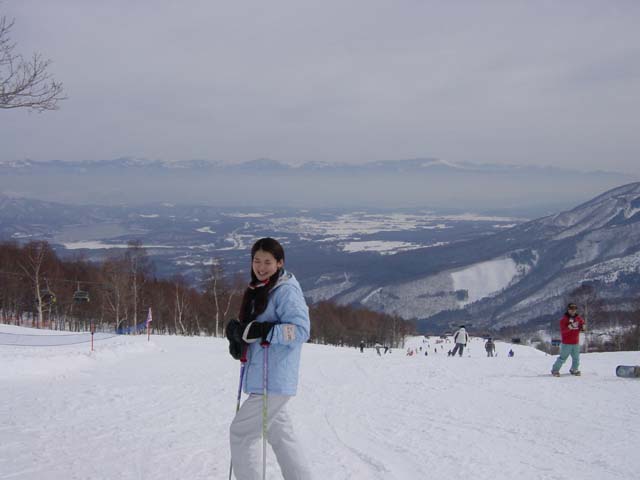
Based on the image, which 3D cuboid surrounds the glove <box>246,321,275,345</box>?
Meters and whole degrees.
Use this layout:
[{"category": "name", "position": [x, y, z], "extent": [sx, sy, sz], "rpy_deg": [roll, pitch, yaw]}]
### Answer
[{"category": "glove", "position": [-1.050, 1.648, 12.029], "extent": [0.519, 0.385, 0.163], "rpy_deg": [3, 11, -8]}]

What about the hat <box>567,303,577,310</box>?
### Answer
[{"category": "hat", "position": [6.817, 1.789, 18.299], "extent": [0.227, 0.224, 0.196], "rpy_deg": [-6, -12, 26]}]

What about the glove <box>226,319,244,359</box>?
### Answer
[{"category": "glove", "position": [-1.499, 1.781, 12.214], "extent": [0.231, 0.625, 0.470], "rpy_deg": [1, 1, -13]}]
